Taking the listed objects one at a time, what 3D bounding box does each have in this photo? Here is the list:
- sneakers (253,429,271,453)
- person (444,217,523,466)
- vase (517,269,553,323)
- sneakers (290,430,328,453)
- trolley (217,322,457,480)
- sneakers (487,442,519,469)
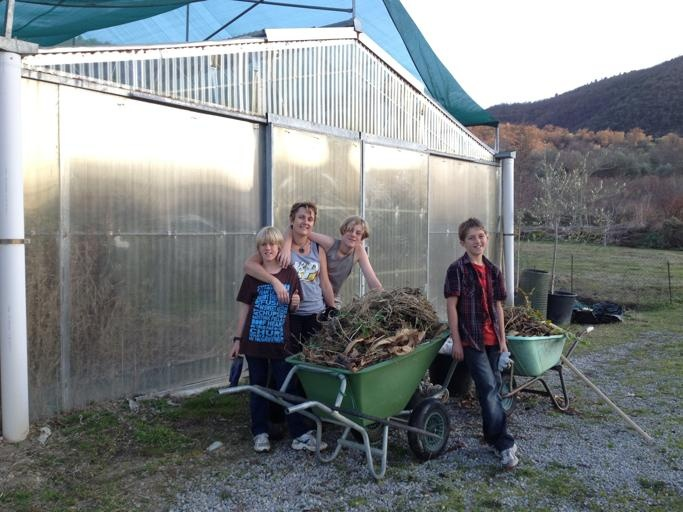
[{"bbox_3d":[-0.710,1.657,5.087,0.136,0.138,0.276,-1,-9,-9],"label":"sneakers"},{"bbox_3d":[1.268,0.739,5.084,0.680,2.094,0.499,4,8,19],"label":"person"},{"bbox_3d":[3.628,0.652,10.612,0.524,0.762,1.412,4,9,19],"label":"vase"},{"bbox_3d":[-0.291,1.664,5.047,0.277,0.163,0.176,-2,-3,5],"label":"sneakers"},{"bbox_3d":[0.048,1.213,4.927,1.844,1.148,0.985,-5,2,-40],"label":"trolley"},{"bbox_3d":[1.460,1.774,5.000,0.117,0.149,0.333,-28,-22,11],"label":"sneakers"}]
